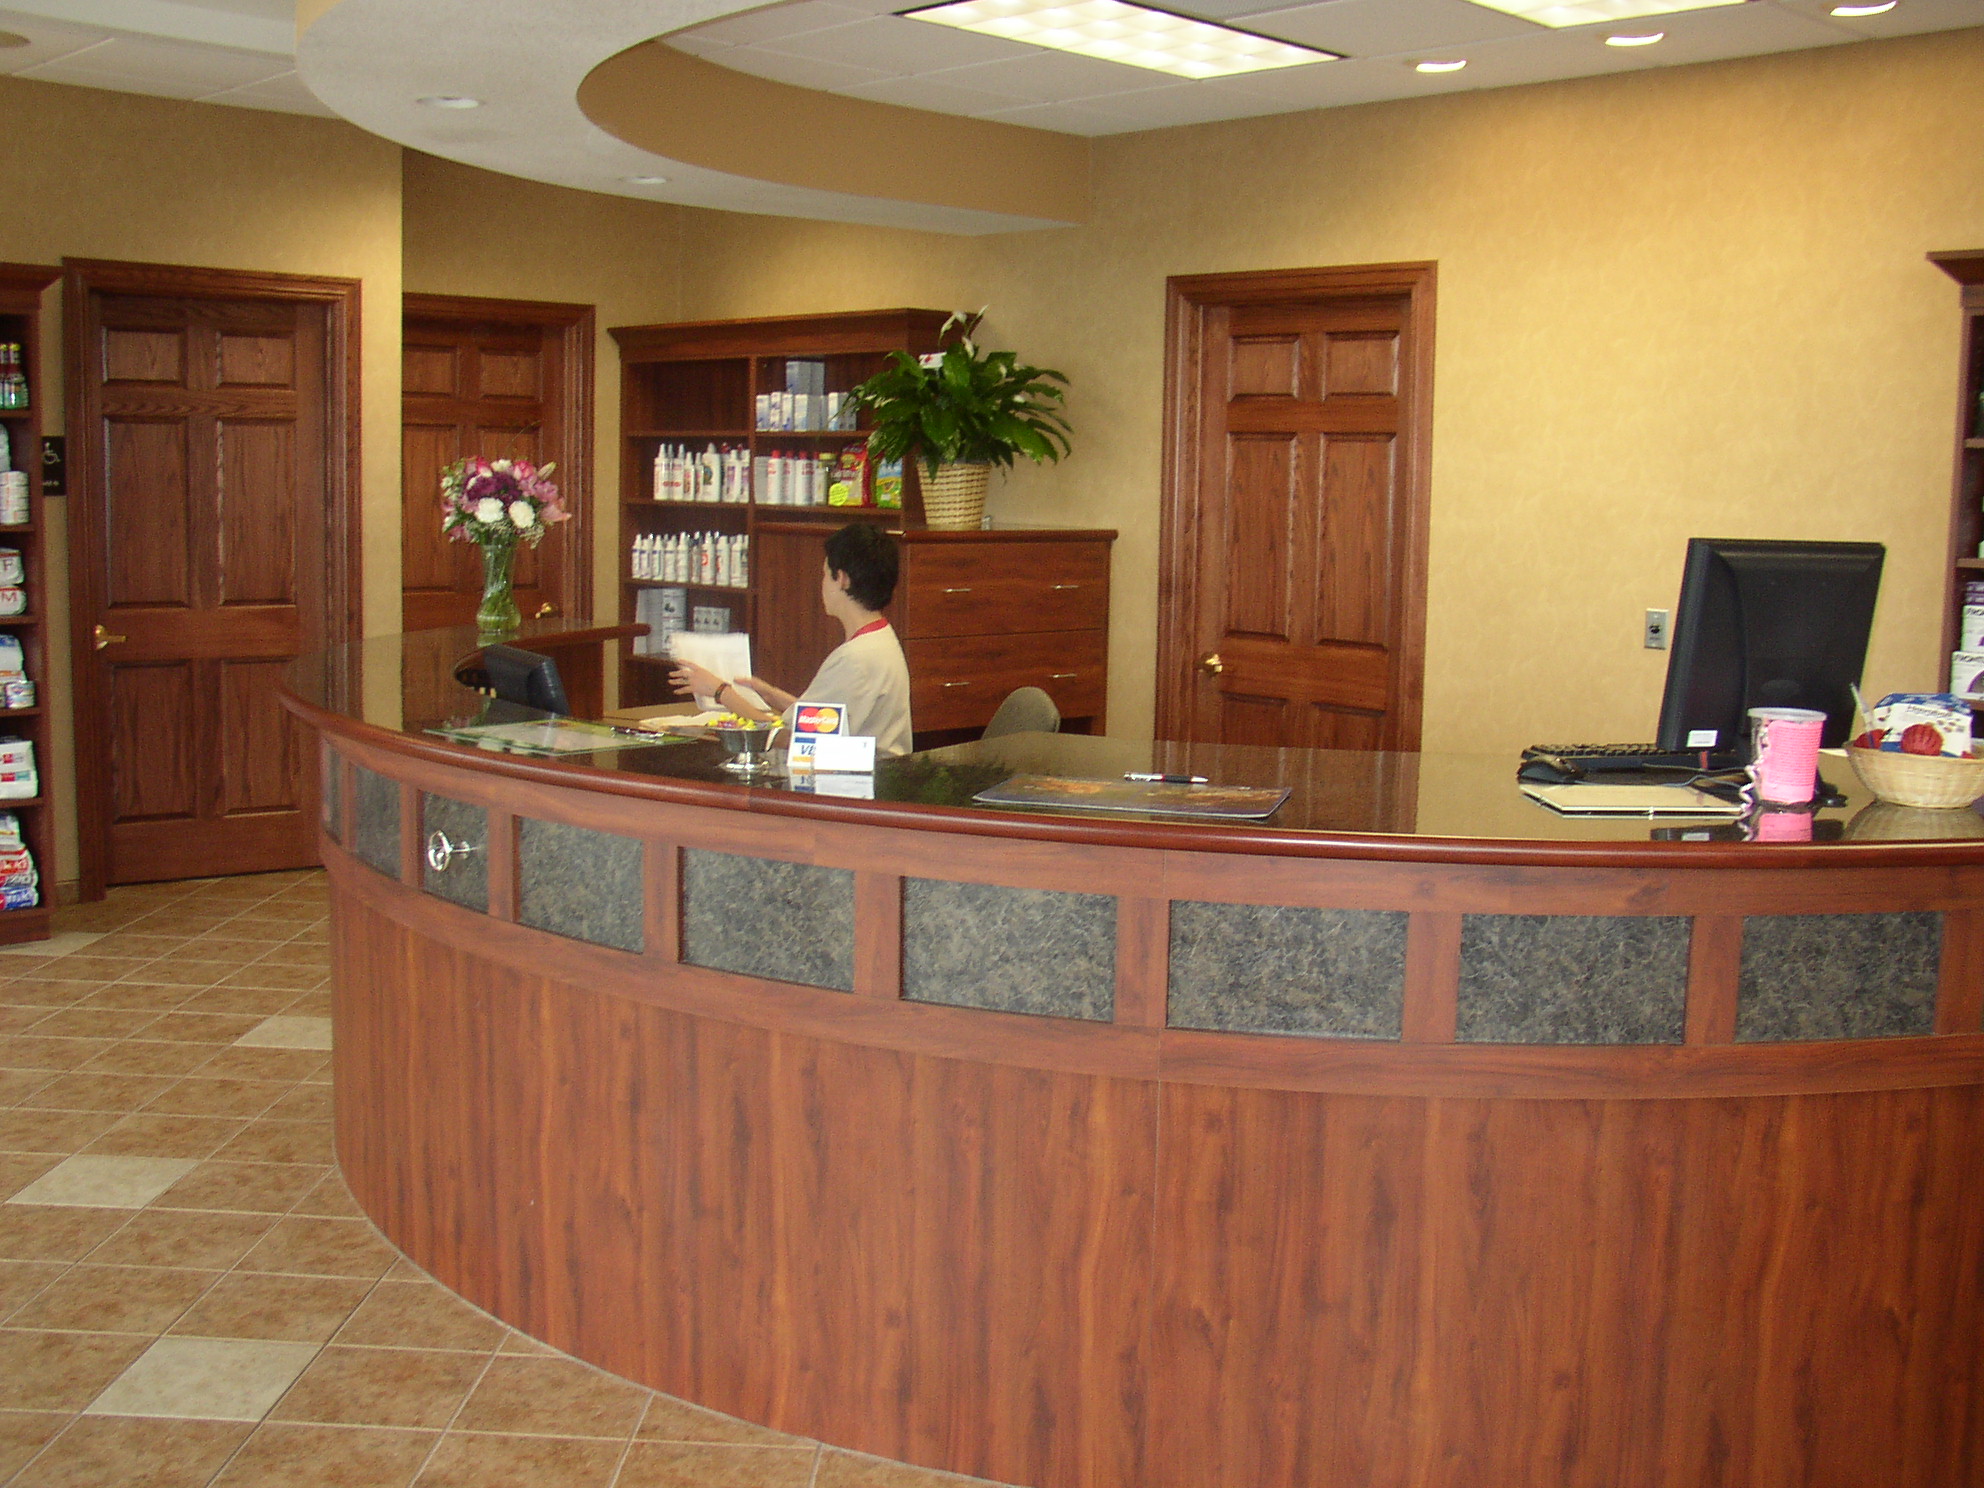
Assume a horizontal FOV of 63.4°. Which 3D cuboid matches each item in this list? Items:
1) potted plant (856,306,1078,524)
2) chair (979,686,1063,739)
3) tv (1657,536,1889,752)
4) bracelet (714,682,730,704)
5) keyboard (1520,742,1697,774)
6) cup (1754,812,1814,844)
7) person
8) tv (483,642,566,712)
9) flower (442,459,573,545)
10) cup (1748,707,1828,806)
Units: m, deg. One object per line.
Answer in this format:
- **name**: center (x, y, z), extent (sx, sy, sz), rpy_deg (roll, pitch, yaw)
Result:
- **potted plant**: center (-0.080, -1.390, 7.245), extent (1.036, 0.729, 0.918), rpy_deg (13, -6, -37)
- **chair**: center (0.118, -0.095, 5.257), extent (0.203, 0.186, 0.258), rpy_deg (15, 21, 37)
- **tv**: center (1.784, -0.224, 3.663), extent (0.476, 0.473, 0.126), rpy_deg (-1, 10, -14)
- **bracelet**: center (-0.752, -0.142, 4.424), extent (0.031, 0.053, 0.167), rpy_deg (-1, 9, -14)
- **keyboard**: center (1.407, 0.031, 3.613), extent (0.426, 0.044, 0.167), rpy_deg (0, 8, -9)
- **cup**: center (1.521, 0.160, 3.076), extent (0.099, 0.053, 0.091), rpy_deg (0, 10, 0)
- **person**: center (-0.547, -0.306, 4.615), extent (0.616, 0.644, 0.867), rpy_deg (1, 9, -4)
- **tv**: center (-1.248, -0.174, 4.220), extent (0.250, 0.194, 0.131), rpy_deg (16, 31, 34)
- **flower**: center (-1.821, -0.895, 5.922), extent (0.380, 0.318, 0.406), rpy_deg (-2, 10, -21)
- **cup**: center (1.646, 0.027, 3.320), extent (0.132, 0.194, 0.196), rpy_deg (6, 10, 25)
